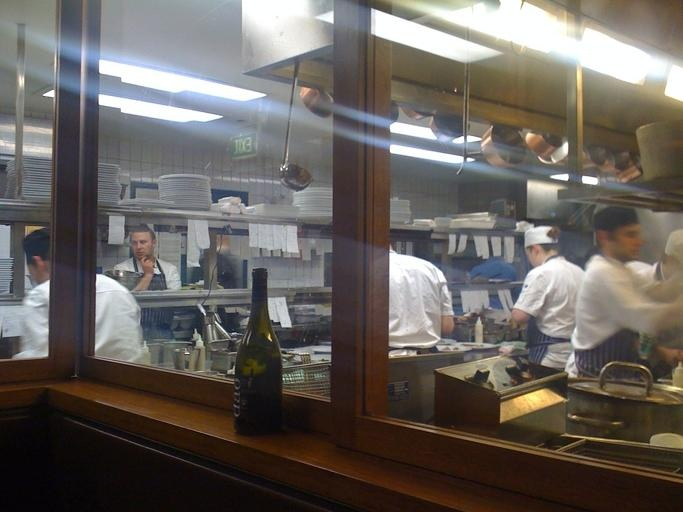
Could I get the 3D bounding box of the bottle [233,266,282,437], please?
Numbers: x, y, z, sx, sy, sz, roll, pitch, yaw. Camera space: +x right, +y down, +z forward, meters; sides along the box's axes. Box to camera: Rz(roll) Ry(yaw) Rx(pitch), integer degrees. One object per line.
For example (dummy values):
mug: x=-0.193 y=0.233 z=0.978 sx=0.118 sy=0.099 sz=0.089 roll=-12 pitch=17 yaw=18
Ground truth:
bottle: x=-0.179 y=0.199 z=1.219 sx=0.099 sy=0.350 sz=0.060 roll=0 pitch=0 yaw=-9

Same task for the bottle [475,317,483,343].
bottle: x=0.259 y=0.139 z=1.068 sx=0.017 sy=0.046 sz=0.031 roll=0 pitch=0 yaw=-6

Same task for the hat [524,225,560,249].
hat: x=0.343 y=-0.034 z=0.973 sx=0.045 sy=0.037 sz=0.125 roll=0 pitch=0 yaw=10

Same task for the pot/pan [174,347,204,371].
pot/pan: x=-0.422 y=0.285 z=1.565 sx=0.089 sy=0.075 sz=0.054 roll=2 pitch=-9 yaw=-1

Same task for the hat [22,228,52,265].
hat: x=-0.978 y=-0.037 z=1.814 sx=0.097 sy=0.115 sz=0.123 roll=0 pitch=2 yaw=-13
